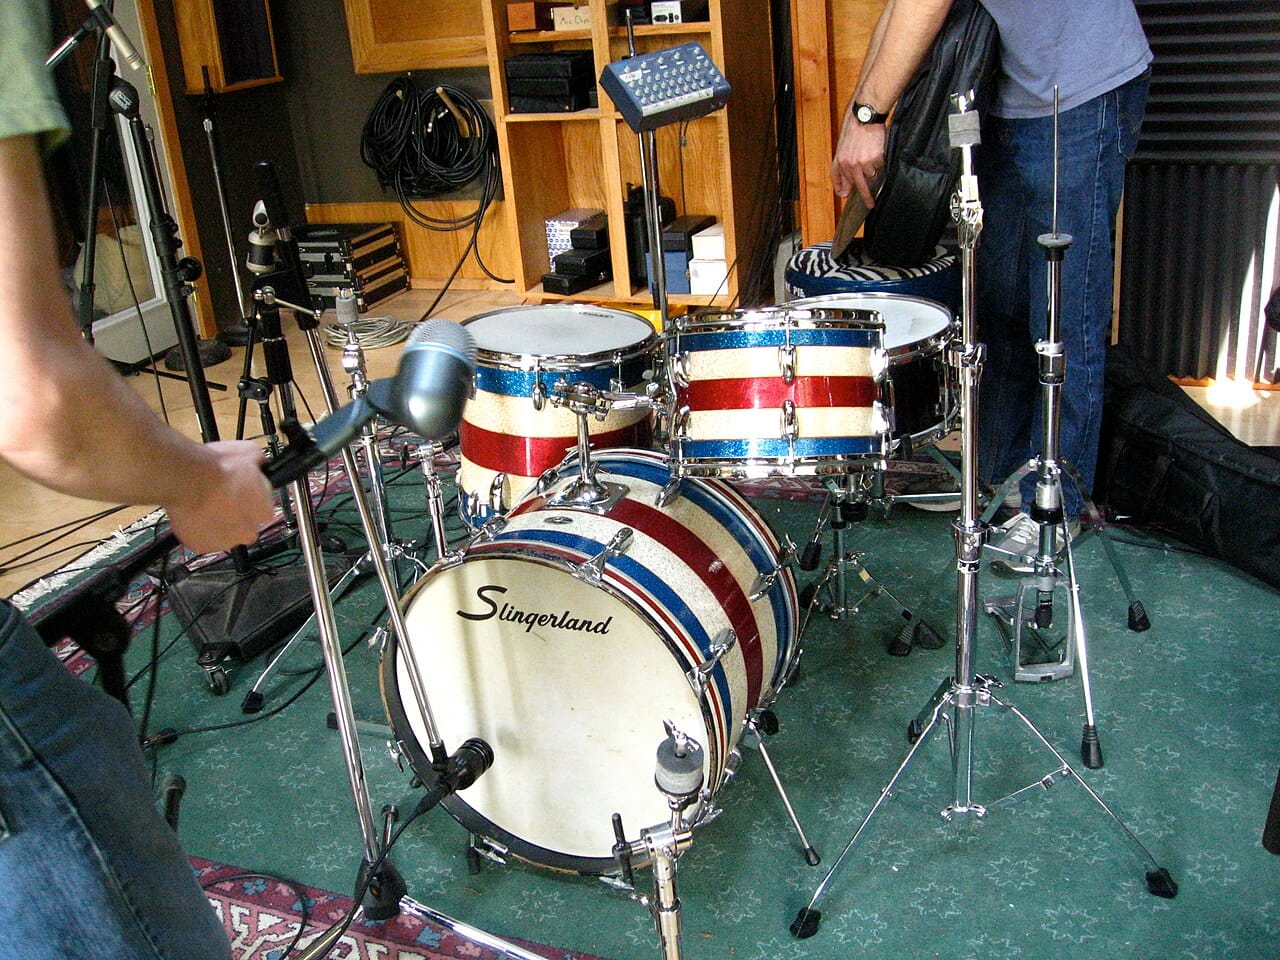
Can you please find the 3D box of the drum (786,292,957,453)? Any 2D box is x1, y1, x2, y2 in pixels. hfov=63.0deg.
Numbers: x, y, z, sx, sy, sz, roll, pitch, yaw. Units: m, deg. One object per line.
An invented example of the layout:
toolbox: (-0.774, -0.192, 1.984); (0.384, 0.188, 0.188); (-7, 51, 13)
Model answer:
drum: (0.523, -0.224, 2.383); (0.372, 0.224, 0.366); (-9, 22, 4)

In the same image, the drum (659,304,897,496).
drum: (0.256, -0.174, 1.963); (0.349, 0.228, 0.342); (-2, 10, 0)

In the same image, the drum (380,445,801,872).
drum: (-0.071, 0.319, 2.064); (0.719, 0.672, 0.620); (15, 29, 33)

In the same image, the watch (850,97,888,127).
watch: (0.588, -0.954, 2.710); (0.069, 0.066, 0.027); (26, 73, 16)

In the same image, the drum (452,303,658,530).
drum: (-0.202, -0.130, 2.462); (0.482, 0.439, 0.472); (-26, 37, -38)
